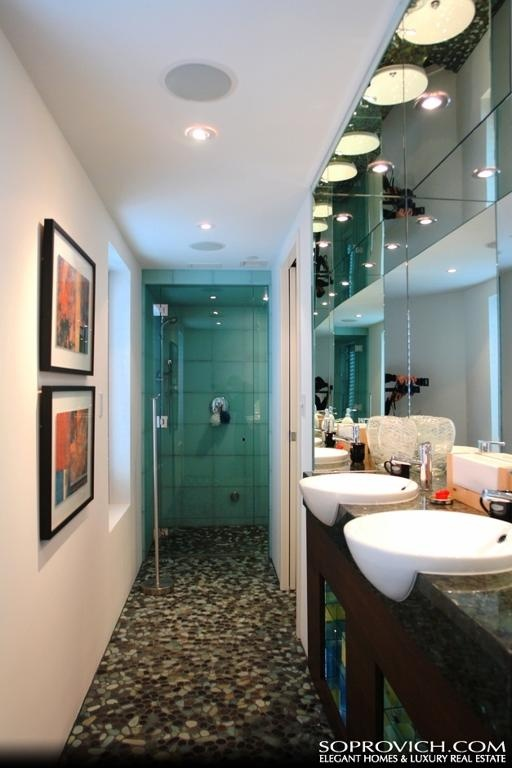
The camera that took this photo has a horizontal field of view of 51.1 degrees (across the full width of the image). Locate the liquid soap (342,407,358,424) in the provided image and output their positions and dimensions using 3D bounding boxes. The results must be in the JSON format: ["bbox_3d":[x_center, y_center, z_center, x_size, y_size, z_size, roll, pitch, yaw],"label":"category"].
[{"bbox_3d":[0.418,0.137,2.374,0.051,0.066,0.053,3,-4,-11],"label":"liquid soap"}]

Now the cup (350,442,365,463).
[{"bbox_3d":[0.446,0.300,2.350,0.069,0.119,0.072,0,-7,0],"label":"cup"}]

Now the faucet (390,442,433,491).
[{"bbox_3d":[0.503,0.277,1.848,0.170,0.217,0.074,1,-3,5],"label":"faucet"}]

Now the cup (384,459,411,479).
[{"bbox_3d":[0.530,0.316,2.007,0.084,0.105,0.053,4,5,7],"label":"cup"}]

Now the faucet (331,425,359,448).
[{"bbox_3d":[0.417,0.240,2.460,0.068,0.102,0.135,3,6,27],"label":"faucet"}]
